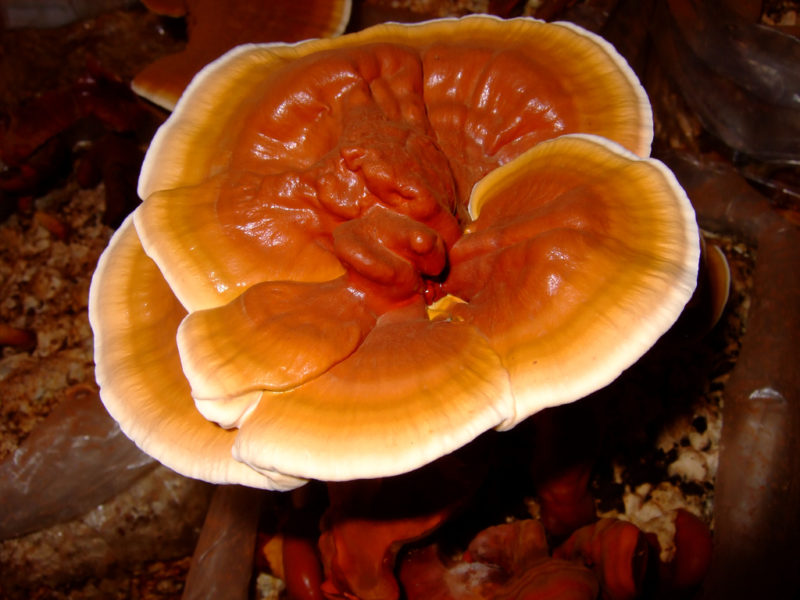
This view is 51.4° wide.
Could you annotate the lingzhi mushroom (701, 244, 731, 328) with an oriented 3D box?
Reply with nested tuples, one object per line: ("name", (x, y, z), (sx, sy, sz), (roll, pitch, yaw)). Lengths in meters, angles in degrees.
("lingzhi mushroom", (1.854, -0.082, 4.869), (0.125, 0.480, 0.240), (2, 16, 24))
